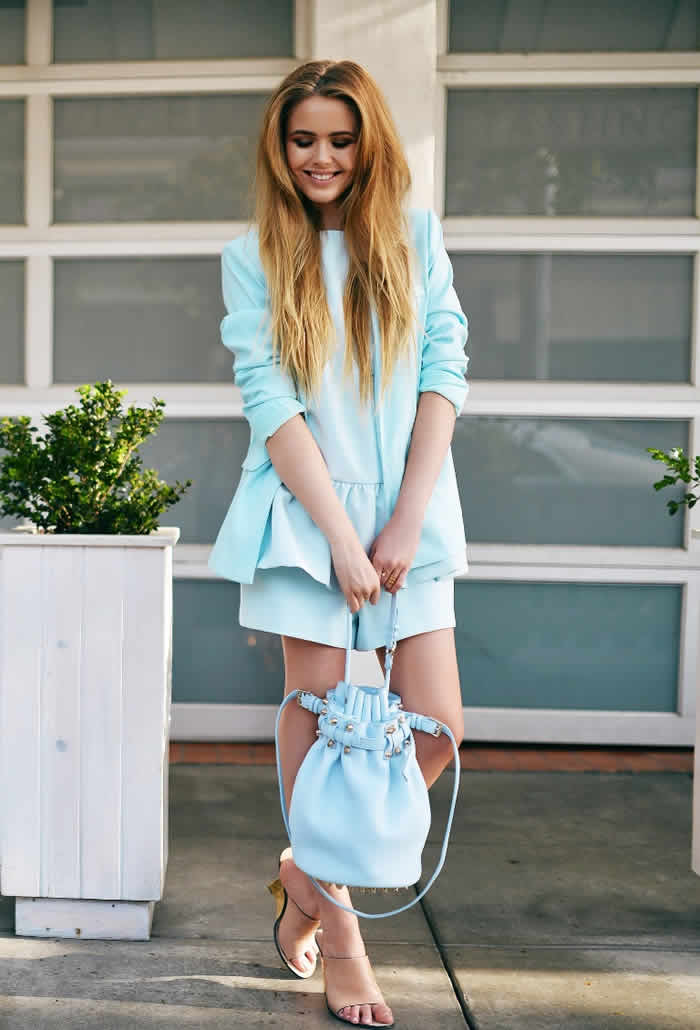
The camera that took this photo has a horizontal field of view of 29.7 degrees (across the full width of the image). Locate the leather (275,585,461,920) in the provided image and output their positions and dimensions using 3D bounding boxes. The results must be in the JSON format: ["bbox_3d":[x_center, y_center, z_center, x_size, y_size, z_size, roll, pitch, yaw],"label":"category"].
[{"bbox_3d":[0.031,0.503,2.561,0.358,0.685,0.321,1,12,-2],"label":"leather"}]

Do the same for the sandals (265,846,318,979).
[{"bbox_3d":[-0.122,0.839,2.772,0.074,0.239,0.112,-11,-2,39],"label":"sandals"}]

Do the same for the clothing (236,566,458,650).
[{"bbox_3d":[-0.045,0.187,2.585,0.251,0.074,0.252,3,0,41],"label":"clothing"}]
